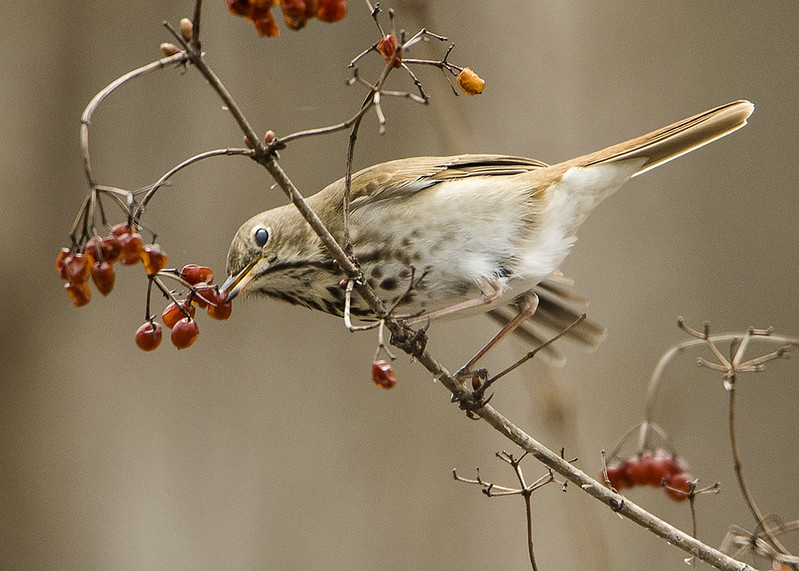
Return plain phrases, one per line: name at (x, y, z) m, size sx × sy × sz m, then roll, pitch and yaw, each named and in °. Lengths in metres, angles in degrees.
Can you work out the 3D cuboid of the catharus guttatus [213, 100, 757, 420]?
catharus guttatus at (0.204, -0.099, 2.029) m, size 1.081 × 0.425 × 0.368 m, roll -19°, pitch -31°, yaw -3°
